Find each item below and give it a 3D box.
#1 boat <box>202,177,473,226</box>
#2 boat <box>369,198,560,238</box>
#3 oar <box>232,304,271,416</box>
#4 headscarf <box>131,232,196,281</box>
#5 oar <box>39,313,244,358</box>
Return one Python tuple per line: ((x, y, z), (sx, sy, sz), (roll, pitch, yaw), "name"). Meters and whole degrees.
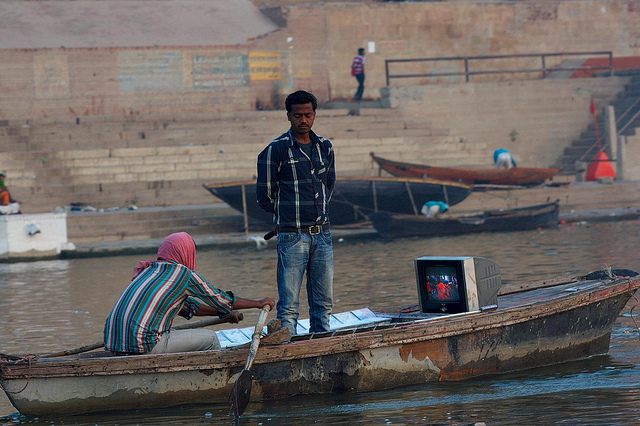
((0.985, -0.278, 67.222), (11.309, 1.658, 2.733), (1, -11, -34), "boat")
((4.832, 0.244, 66.487), (5.581, 0.847, 1.122), (-3, 6, -4), "boat")
((-1.963, 4.155, 53.711), (1.024, 2.551, 0.997), (4, -2, -7), "oar")
((-4.235, 1.182, 53.484), (1.624, 1.297, 1.160), (1, 6, -8), "headscarf")
((-4.775, 3.512, 54.309), (5.614, 0.531, 0.610), (-7, 15, -11), "oar")
